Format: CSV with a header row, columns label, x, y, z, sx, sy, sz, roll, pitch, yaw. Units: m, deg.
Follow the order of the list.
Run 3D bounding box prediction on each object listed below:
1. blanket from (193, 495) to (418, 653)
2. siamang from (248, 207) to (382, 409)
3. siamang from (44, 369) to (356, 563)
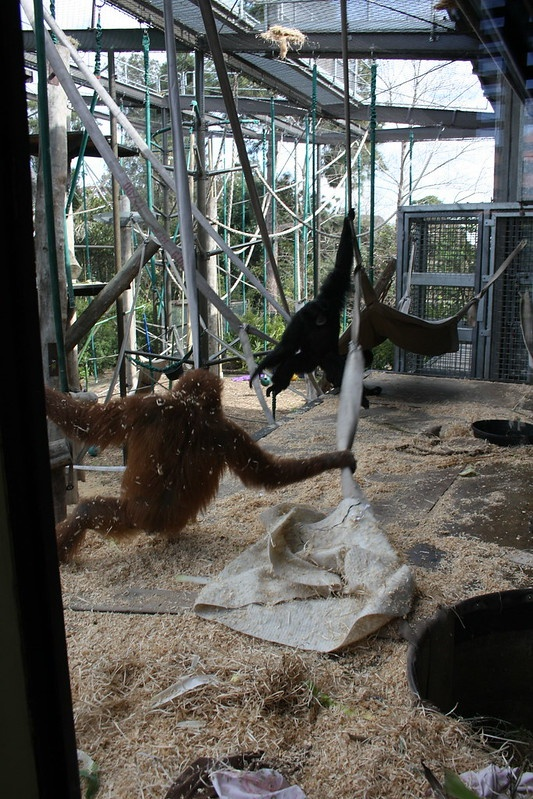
label,x,y,z,sx,sy,sz,roll,pitch,yaw
blanket,0.128,0.495,2.030,0.398,0.098,0.416,5,20,19
siamang,0.153,-0.367,3.477,0.950,0.705,0.327,-21,-8,39
siamang,-0.284,0.189,2.416,0.888,0.380,0.672,0,0,38
